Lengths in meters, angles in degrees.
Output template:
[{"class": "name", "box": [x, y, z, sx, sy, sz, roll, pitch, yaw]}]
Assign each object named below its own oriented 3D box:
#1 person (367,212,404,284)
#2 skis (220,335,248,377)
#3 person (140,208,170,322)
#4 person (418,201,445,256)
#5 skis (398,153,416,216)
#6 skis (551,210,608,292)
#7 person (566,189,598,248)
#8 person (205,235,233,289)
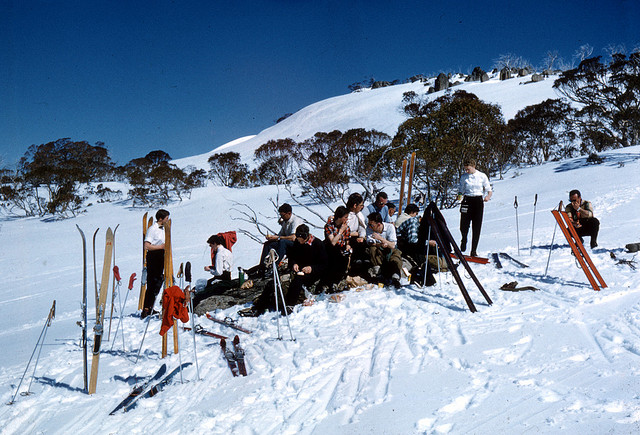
[{"class": "person", "box": [1.388, 0.654, 11.027, 0.452, 1.512, 0.964, -7, 1, -35]}, {"class": "skis", "box": [-1.595, 2.564, 9.222, 0.268, 0.264, 0.916, -1, 27, -19]}, {"class": "person", "box": [-3.705, 1.137, 11.164, 0.276, 2.658, 0.385, -2, -10, 45]}, {"class": "person", "box": [2.410, 0.302, 10.847, 0.634, 1.180, 0.553, -4, 33, 3]}, {"class": "skis", "box": [2.598, -1.052, 14.986, 0.215, 1.506, 0.031, 5, 5, 6]}, {"class": "skis", "box": [5.673, 0.760, 10.913, 0.269, 1.679, 0.173, 4, -29, -33]}, {"class": "person", "box": [6.382, 0.053, 12.275, 0.823, 1.427, 1.078, -6, -8, 26]}, {"class": "person", "box": [-2.465, 1.048, 12.082, 0.637, 1.295, 0.628, -7, 1, -11]}]
